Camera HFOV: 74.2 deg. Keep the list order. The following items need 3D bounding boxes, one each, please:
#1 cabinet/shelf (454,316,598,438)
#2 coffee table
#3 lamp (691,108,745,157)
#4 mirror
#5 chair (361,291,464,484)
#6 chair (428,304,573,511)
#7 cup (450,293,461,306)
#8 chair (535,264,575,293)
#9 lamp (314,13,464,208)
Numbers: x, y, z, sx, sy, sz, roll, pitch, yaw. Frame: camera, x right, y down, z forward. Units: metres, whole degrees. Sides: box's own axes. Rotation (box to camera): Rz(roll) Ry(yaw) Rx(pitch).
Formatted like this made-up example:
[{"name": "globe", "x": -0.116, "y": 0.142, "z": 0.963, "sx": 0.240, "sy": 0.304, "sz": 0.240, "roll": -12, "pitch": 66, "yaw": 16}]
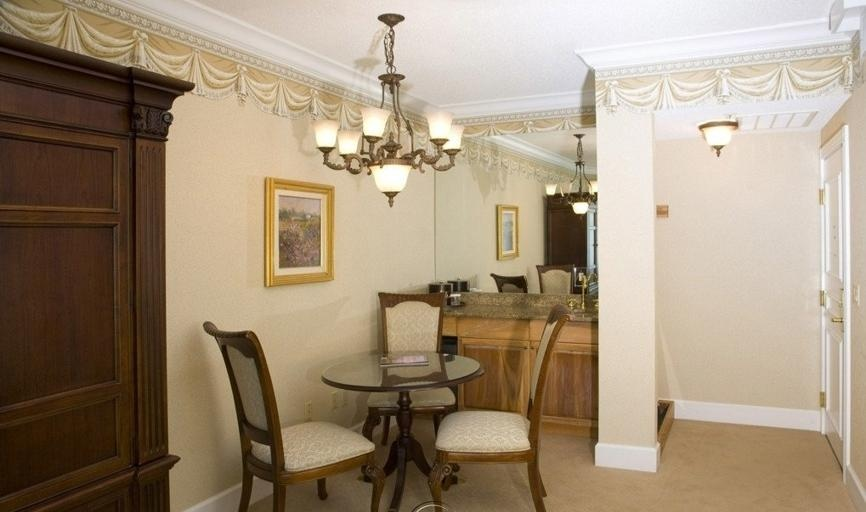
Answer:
[{"name": "cabinet/shelf", "x": 0.929, "y": 1.124, "z": 5.315, "sx": 1.321, "sy": 0.936, "sz": 0.465, "roll": -2, "pitch": -7, "yaw": 20}, {"name": "coffee table", "x": -0.277, "y": 1.301, "z": 4.642, "sx": 1.261, "sy": 0.830, "sz": 1.217, "roll": 2, "pitch": -6, "yaw": -31}, {"name": "lamp", "x": 2.704, "y": -1.160, "z": 5.392, "sx": 0.373, "sy": 0.311, "sz": 0.373, "roll": 2, "pitch": -2, "yaw": -10}, {"name": "mirror", "x": 0.947, "y": -0.621, "z": 6.064, "sx": 2.121, "sy": 2.017, "sz": 0.032, "roll": 1, "pitch": -1, "yaw": 16}, {"name": "chair", "x": -0.190, "y": 1.036, "z": 5.598, "sx": 1.359, "sy": 1.922, "sz": 1.383, "roll": 0, "pitch": -6, "yaw": -1}, {"name": "chair", "x": 0.513, "y": 1.201, "z": 4.393, "sx": 1.022, "sy": 1.567, "sz": 0.845, "roll": 0, "pitch": 12, "yaw": 6}, {"name": "cup", "x": 0.252, "y": 0.480, "z": 6.368, "sx": 0.127, "sy": 0.120, "sz": 0.125, "roll": -1, "pitch": -6, "yaw": 0}, {"name": "chair", "x": 1.308, "y": 0.238, "z": 6.149, "sx": 0.290, "sy": 0.433, "sz": 0.325, "roll": -1, "pitch": 2, "yaw": 12}, {"name": "lamp", "x": -0.369, "y": -1.156, "z": 4.836, "sx": 1.583, "sy": 1.651, "sz": 1.394, "roll": -1, "pitch": -7, "yaw": 3}]
